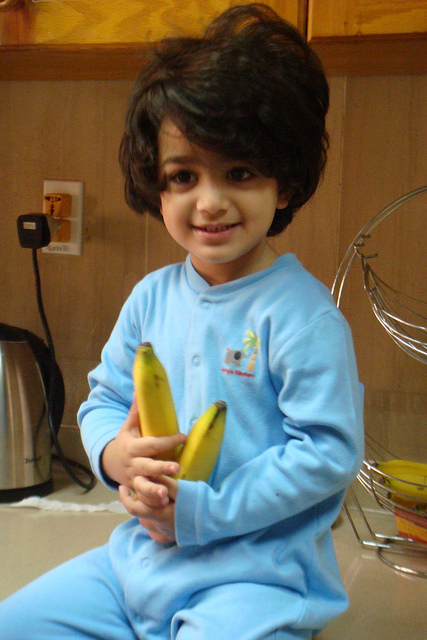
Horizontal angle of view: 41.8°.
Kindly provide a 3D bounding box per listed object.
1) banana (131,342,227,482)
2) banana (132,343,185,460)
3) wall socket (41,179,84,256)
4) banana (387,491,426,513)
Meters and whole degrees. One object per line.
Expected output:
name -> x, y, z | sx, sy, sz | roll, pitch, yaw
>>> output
banana -> -0.024, 0.078, 0.502 | 0.111, 0.110, 0.026 | 30, 18, 27
banana -> -0.057, 0.074, 0.540 | 0.037, 0.114, 0.033 | -9, -2, 39
wall socket -> -0.312, -0.203, 1.095 | 0.090, 0.149, 0.078 | 6, 7, 16
banana -> 0.273, 0.254, 0.803 | 0.017, 0.021, 0.076 | -27, 9, -22
